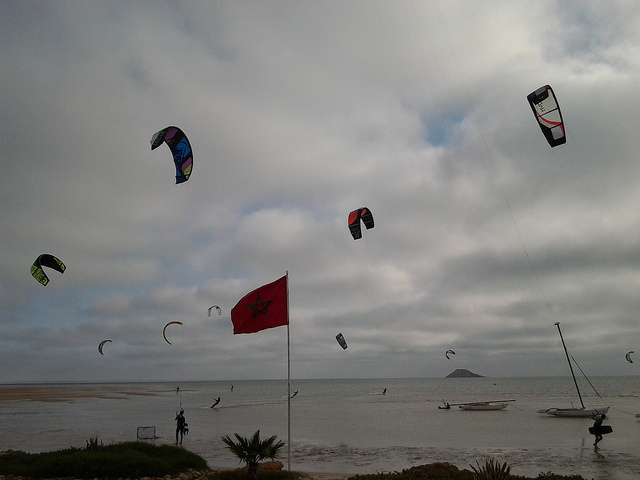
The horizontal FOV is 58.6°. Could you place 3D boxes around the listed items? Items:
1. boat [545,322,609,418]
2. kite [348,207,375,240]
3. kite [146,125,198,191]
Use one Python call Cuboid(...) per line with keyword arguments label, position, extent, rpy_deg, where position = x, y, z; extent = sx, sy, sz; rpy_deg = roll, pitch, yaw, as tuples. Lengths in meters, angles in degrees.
Cuboid(label="boat", position=(29.658, 15.707, 68.245), extent=(8.056, 10.762, 2.174), rpy_deg=(-4, -3, 20))
Cuboid(label="kite", position=(3.223, -1.468, 45.092), extent=(1.718, 2.249, 1.359), rpy_deg=(-17, 5, -40))
Cuboid(label="kite", position=(-8.939, -5.308, 35.074), extent=(2.223, 4.746, 0.205), rpy_deg=(-35, -25, -2))
